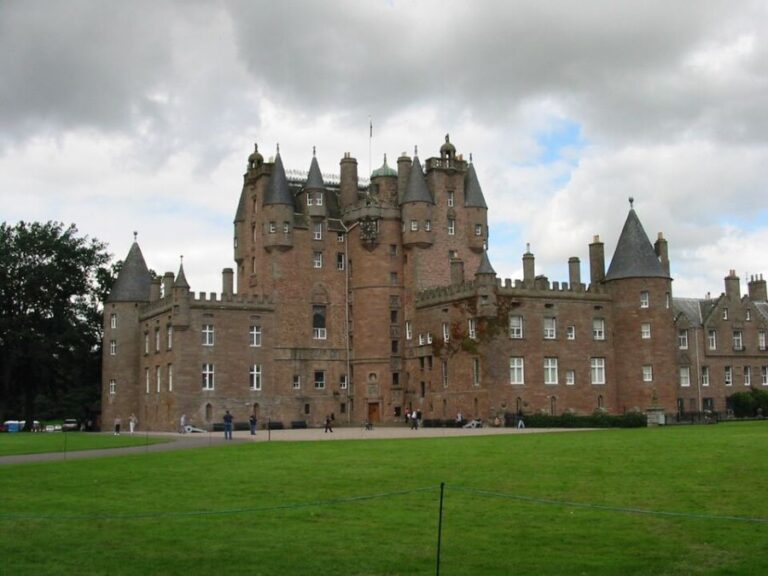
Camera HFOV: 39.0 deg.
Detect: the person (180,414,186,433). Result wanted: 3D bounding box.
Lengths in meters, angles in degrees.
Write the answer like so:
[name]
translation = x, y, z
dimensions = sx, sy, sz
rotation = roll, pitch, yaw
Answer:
[person]
translation = -15.429, 10.328, 83.255
dimensions = 0.428, 1.436, 2.774
rotation = 0, -10, -11
